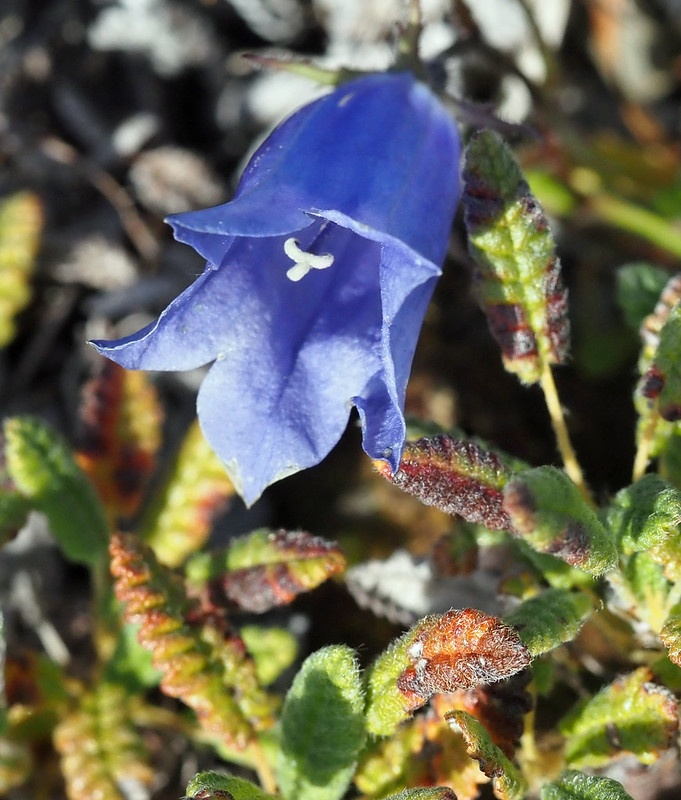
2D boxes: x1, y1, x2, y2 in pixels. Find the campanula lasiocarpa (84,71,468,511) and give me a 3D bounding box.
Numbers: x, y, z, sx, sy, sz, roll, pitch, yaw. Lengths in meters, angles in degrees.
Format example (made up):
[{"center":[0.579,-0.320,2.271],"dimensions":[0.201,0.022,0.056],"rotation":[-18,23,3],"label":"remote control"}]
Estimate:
[{"center":[-0.003,-0.165,1.353],"dimensions":[0.482,0.281,0.579],"rotation":[17,61,13],"label":"campanula lasiocarpa"}]
